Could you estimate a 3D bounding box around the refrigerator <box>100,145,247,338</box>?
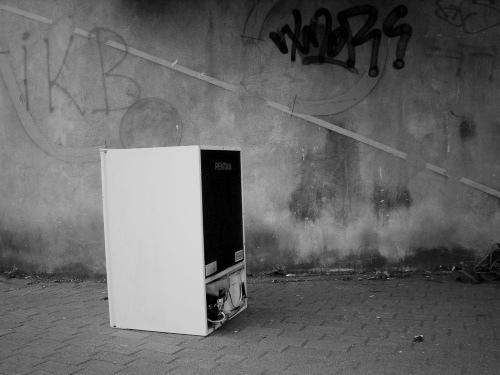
[{"bbox_3d":[-0.755,0.618,7.766,2.115,3.239,2.151,1,3,16],"label":"refrigerator"}]
